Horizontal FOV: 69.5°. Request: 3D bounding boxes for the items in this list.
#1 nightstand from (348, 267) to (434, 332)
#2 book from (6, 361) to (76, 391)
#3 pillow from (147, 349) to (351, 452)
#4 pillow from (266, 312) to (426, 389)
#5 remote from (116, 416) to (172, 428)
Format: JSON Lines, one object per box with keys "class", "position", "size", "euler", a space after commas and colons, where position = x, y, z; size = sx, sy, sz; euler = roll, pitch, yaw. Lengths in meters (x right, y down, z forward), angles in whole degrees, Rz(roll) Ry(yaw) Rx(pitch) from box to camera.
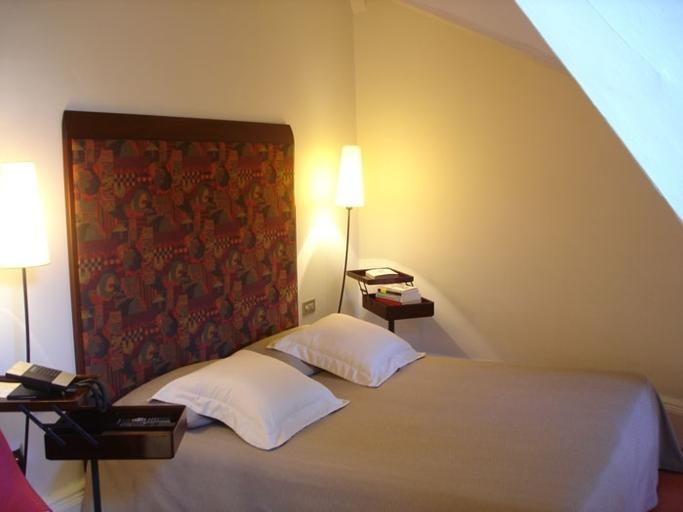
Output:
{"class": "nightstand", "position": [0.331, 0.272, 3.433], "size": [0.344, 0.427, 0.588], "euler": [-5, 8, -21]}
{"class": "book", "position": [-1.039, 0.422, 1.713], "size": [0.196, 0.091, 0.103], "euler": [-3, 10, -6]}
{"class": "pillow", "position": [-0.411, 0.597, 2.115], "size": [0.417, 0.116, 0.451], "euler": [23, 16, 23]}
{"class": "pillow", "position": [0.007, 0.493, 2.661], "size": [0.449, 0.137, 0.440], "euler": [22, 23, 30]}
{"class": "remote", "position": [-0.714, 0.602, 1.784], "size": [0.198, 0.015, 0.073], "euler": [-2, 10, -2]}
